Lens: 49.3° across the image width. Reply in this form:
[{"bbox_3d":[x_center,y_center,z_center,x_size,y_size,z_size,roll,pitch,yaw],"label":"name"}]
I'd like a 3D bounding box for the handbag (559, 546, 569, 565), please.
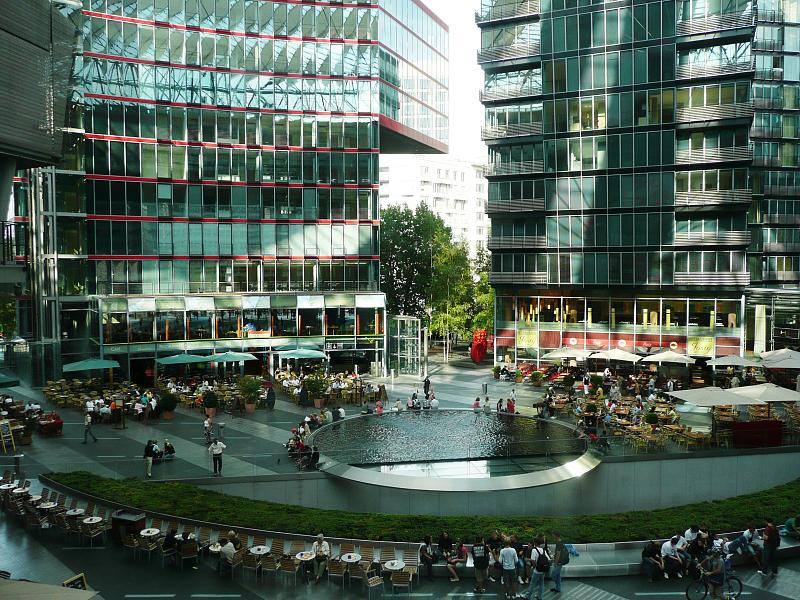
[{"bbox_3d":[6.805,10.524,36.000,0.303,0.926,0.752,1,-4,16],"label":"handbag"}]
